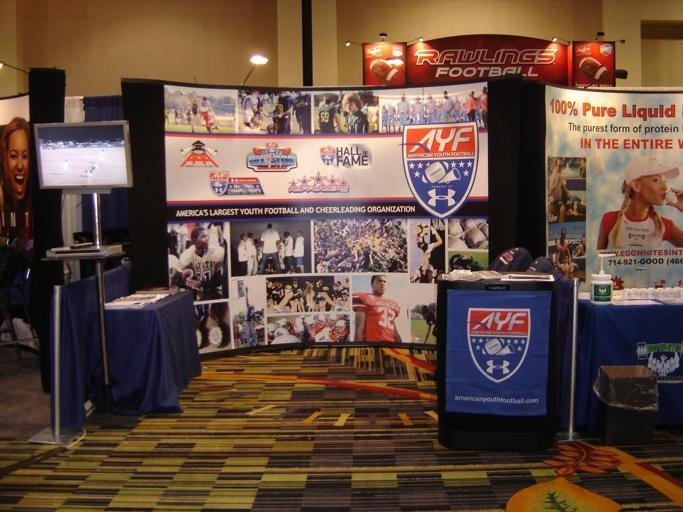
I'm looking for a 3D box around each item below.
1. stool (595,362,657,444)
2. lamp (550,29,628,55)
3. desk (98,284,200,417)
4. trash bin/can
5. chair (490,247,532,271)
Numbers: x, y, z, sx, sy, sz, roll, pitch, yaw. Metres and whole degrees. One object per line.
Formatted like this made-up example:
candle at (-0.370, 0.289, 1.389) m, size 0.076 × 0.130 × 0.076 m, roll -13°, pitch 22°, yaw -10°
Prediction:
stool at (2.064, 1.082, 4.586) m, size 0.360 × 0.506 × 0.341 m, roll 1°, pitch 5°, yaw 6°
lamp at (4.173, -3.618, 10.374) m, size 1.288 × 0.233 × 0.887 m, roll 1°, pitch 14°, yaw 10°
desk at (-1.643, 0.835, 5.604) m, size 0.562 × 0.783 × 1.336 m, roll 0°, pitch -2°, yaw 1°
trash bin/can at (2.043, 1.056, 4.517) m, size 0.397 × 0.542 × 0.218 m, roll -2°, pitch 13°, yaw -4°
chair at (1.360, 0.036, 5.008) m, size 0.319 × 0.157 × 0.263 m, roll 2°, pitch 14°, yaw 13°
